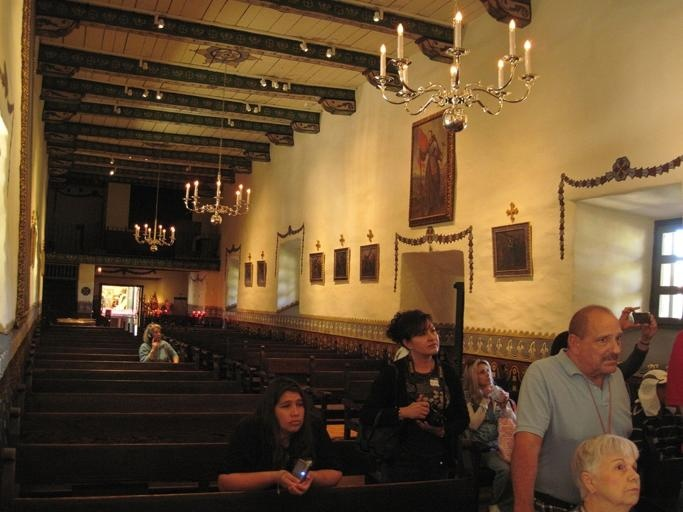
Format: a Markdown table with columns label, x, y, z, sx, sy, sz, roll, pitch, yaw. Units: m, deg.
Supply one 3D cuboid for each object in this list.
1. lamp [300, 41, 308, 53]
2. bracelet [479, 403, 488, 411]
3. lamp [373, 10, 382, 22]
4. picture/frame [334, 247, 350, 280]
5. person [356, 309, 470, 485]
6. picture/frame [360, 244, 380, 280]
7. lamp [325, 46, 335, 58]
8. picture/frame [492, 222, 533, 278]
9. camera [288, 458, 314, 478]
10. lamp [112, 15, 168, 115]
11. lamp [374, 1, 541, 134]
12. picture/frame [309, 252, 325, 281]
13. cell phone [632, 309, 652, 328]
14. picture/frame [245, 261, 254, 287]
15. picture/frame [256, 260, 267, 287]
| label | x | y | z | sx | sy | sz | roll | pitch | yaw |
| --- | --- | --- | --- | --- | --- | --- | --- | --- | --- |
| lamp | -0.693 | -3.892 | 11.000 | 0.193 | 0.210 | 0.127 | 3 | -2 | 14 |
| bracelet | 1.372 | 1.456 | 5.642 | 0.056 | 0.058 | 0.053 | 1 | -4 | 1 |
| lamp | 0.586 | -3.904 | 9.633 | 0.123 | 0.192 | 0.184 | -1 | 6 | -34 |
| picture/frame | 0.008 | 0.202 | 14.045 | 0.071 | 0.738 | 0.679 | 5 | -9 | -29 |
| person | 0.554 | 1.052 | 4.394 | 0.768 | 1.267 | 0.396 | 2 | -2 | 13 |
| picture/frame | 0.632 | 0.153 | 12.854 | 0.076 | 0.758 | 0.685 | 6 | -9 | -29 |
| lamp | -0.230 | -3.850 | 11.112 | 0.109 | 0.124 | 0.221 | 15 | 38 | -10 |
| picture/frame | 2.659 | -0.082 | 9.067 | 0.063 | 0.853 | 0.763 | 5 | -8 | -31 |
| camera | -0.245 | 1.247 | 3.458 | 0.111 | 0.143 | 0.076 | 23 | -24 | 9 |
| lamp | -4.083 | -3.912 | 11.888 | 0.973 | 0.417 | 4.556 | 3 | -2 | -17 |
| lamp | 1.418 | -2.310 | 7.208 | 1.855 | 1.775 | 2.071 | 2 | 0 | 2 |
| picture/frame | -0.639 | 0.296 | 15.340 | 0.049 | 0.705 | 0.659 | 3 | -7 | -24 |
| cell phone | 2.043 | 0.432 | 3.990 | 0.106 | 0.096 | 0.318 | 2 | -2 | 29 |
| picture/frame | -3.284 | 0.646 | 20.842 | 0.111 | 0.887 | 0.801 | 4 | -6 | -23 |
| picture/frame | -2.683 | 0.611 | 19.585 | 0.105 | 0.862 | 0.782 | 4 | -6 | -24 |
